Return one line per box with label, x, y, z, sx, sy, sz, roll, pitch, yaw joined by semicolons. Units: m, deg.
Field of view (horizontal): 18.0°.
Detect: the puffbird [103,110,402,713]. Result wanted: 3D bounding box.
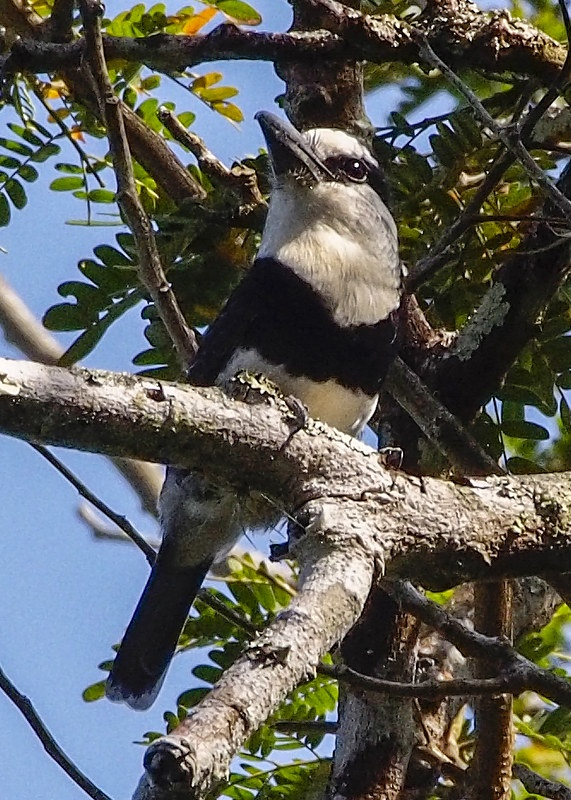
puffbird;-0.008;-0.032;5.214;0.831;1.679;1.282;-7;10;-26
